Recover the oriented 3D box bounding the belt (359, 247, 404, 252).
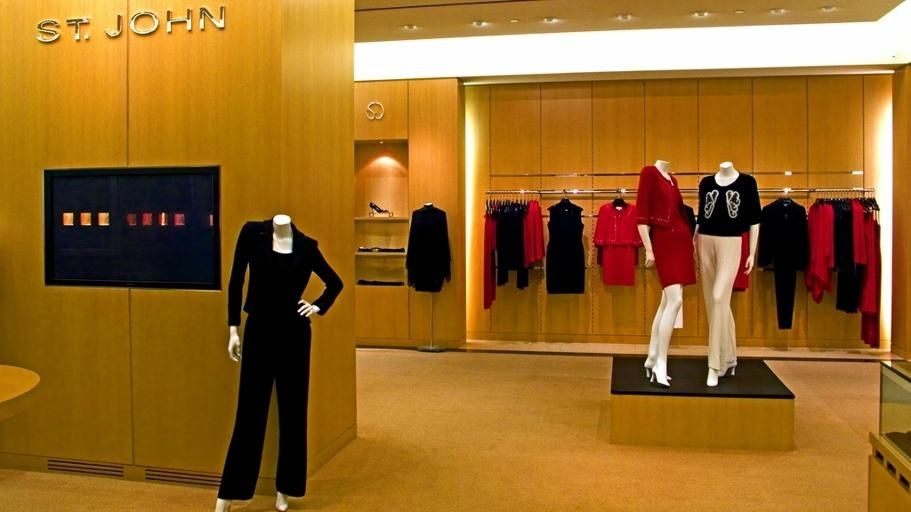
[{"bbox_3d":[-1.113,-0.087,11.264,0.721,0.041,0.289,0,13,1],"label":"belt"}]

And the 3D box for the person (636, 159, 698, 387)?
[{"bbox_3d":[2.238,0.169,8.002,0.622,2.300,0.710,10,15,41],"label":"person"}]

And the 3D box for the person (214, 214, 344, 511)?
[{"bbox_3d":[-1.603,0.973,6.641,0.985,2.620,0.654,0,12,1],"label":"person"}]

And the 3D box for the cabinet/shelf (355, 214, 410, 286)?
[{"bbox_3d":[-1.064,-0.087,11.309,1.097,1.015,0.364,1,1,1],"label":"cabinet/shelf"}]

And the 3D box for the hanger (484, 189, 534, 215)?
[{"bbox_3d":[0.837,-0.857,11.316,0.879,0.417,0.294,-1,3,4],"label":"hanger"}]

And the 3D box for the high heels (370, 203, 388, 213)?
[{"bbox_3d":[-1.171,-0.732,11.348,0.349,0.161,0.115,0,5,-1],"label":"high heels"}]

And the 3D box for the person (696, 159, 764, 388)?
[{"bbox_3d":[2.915,0.193,7.901,0.636,2.286,0.790,1,12,9],"label":"person"}]

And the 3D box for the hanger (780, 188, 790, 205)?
[{"bbox_3d":[4.786,-0.858,10.746,0.085,0.195,0.318,5,13,24],"label":"hanger"}]

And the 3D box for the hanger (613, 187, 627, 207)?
[{"bbox_3d":[2.463,-0.861,11.032,0.181,0.222,0.417,2,13,13],"label":"hanger"}]
